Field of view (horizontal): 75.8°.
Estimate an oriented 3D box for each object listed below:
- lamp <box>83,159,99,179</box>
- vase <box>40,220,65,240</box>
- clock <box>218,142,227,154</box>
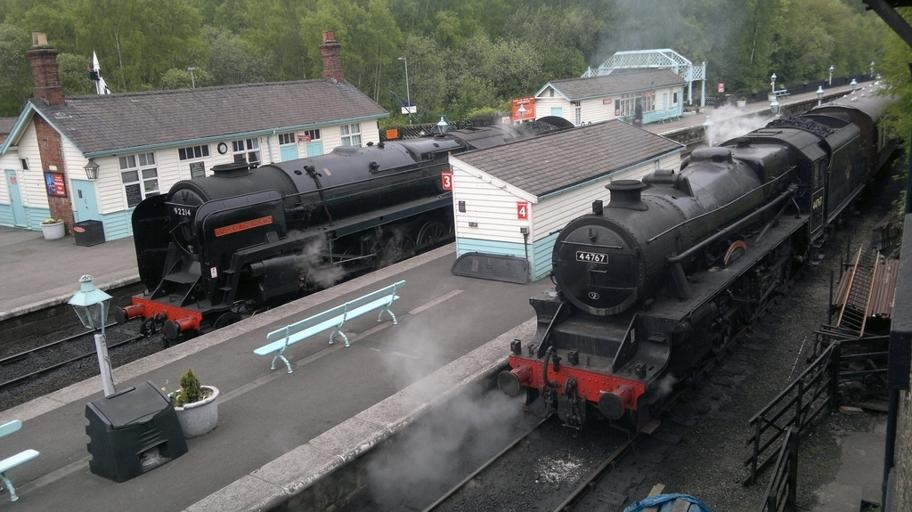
[{"bbox_3d":[-15.180,-3.645,24.493,0.553,0.830,0.556,-16,24,-27],"label":"lamp"},{"bbox_3d":[-18.271,-1.204,26.551,1.015,0.640,0.953,-4,4,-23],"label":"vase"},{"bbox_3d":[-11.119,-5.167,27.800,0.061,0.492,0.549,-2,-11,36],"label":"clock"}]
